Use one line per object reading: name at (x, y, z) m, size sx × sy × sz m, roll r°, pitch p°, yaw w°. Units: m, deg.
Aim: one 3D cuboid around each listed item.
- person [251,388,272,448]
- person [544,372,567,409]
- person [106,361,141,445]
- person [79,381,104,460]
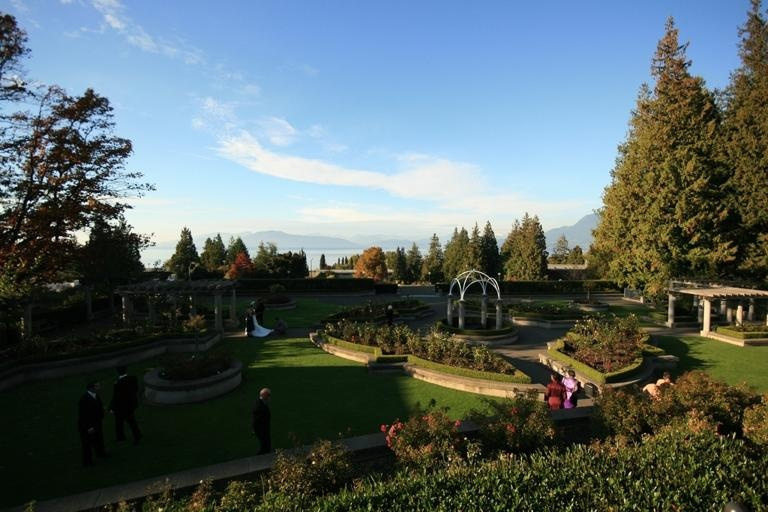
person at (-4.319, 5.827, 18.154) m, size 0.613 × 2.341 × 1.100 m, roll -1°, pitch 1°, yaw -13°
person at (6.482, 5.140, 19.559) m, size 0.704 × 1.344 × 1.873 m, roll 0°, pitch 1°, yaw 23°
person at (-9.714, 5.443, 19.231) m, size 0.965 × 2.807 × 1.332 m, roll -1°, pitch 1°, yaw -29°
person at (-10.311, 5.859, 18.113) m, size 0.745 × 2.830 × 0.645 m, roll -1°, pitch 1°, yaw -24°
